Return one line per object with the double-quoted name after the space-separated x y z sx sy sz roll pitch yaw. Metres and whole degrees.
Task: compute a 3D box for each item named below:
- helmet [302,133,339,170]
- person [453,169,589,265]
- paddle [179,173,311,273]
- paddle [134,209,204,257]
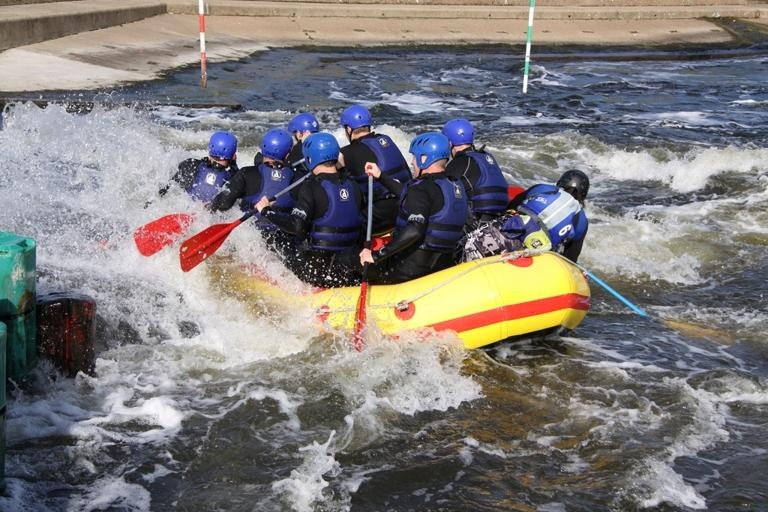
-0.784 -1.287 10.205 0.422 0.460 0.267 -2 17 -4 "helmet"
1.983 -0.403 10.478 1.042 1.692 0.629 58 8 21 "person"
-1.738 -0.386 10.731 2.217 0.294 0.088 -20 9 0 "paddle"
-2.820 -0.349 11.039 0.592 0.039 1.113 6 30 8 "paddle"
